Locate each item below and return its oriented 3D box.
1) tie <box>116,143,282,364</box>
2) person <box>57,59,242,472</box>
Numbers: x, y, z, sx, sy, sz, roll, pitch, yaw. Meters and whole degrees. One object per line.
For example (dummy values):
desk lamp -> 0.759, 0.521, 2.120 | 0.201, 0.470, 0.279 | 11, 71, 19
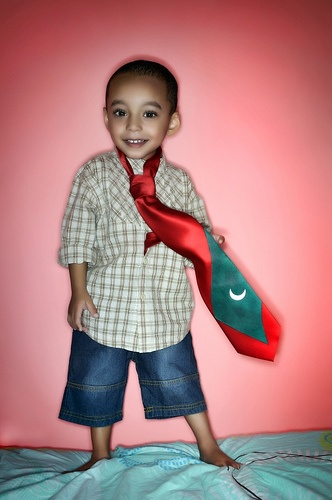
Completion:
tie -> 0.163, 0.042, 1.205 | 0.246, 0.767, 0.088 | -27, 15, 25
person -> -0.051, 0.028, 1.147 | 0.430, 1.036, 0.307 | -2, -7, -26
